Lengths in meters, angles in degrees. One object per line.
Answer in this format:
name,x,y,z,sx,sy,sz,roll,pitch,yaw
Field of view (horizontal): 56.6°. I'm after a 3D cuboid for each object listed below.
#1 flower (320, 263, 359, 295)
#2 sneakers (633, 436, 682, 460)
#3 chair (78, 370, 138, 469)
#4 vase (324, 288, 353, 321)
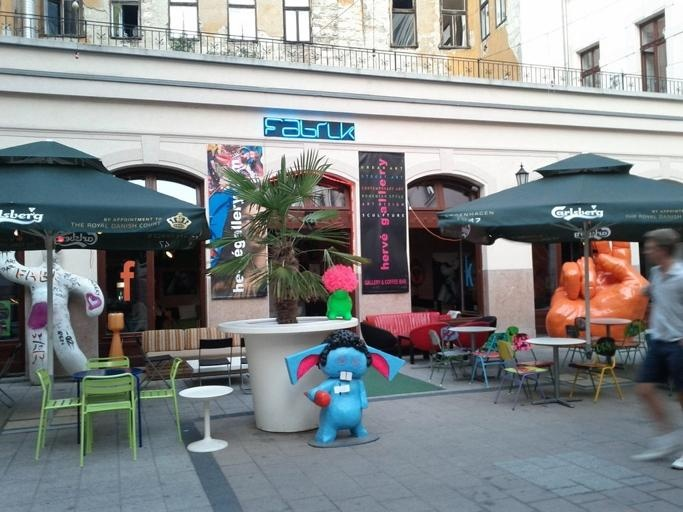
flower,-0.013,0.342,9.319,0.430,0.342,0.452,-3,-8,33
sneakers,3.905,2.385,7.835,0.629,0.227,0.211,-11,-5,-9
chair,-3.122,2.067,8.496,0.740,1.115,1.022,-3,4,-18
vase,-0.056,0.765,9.464,0.349,0.508,0.460,2,-15,-4
